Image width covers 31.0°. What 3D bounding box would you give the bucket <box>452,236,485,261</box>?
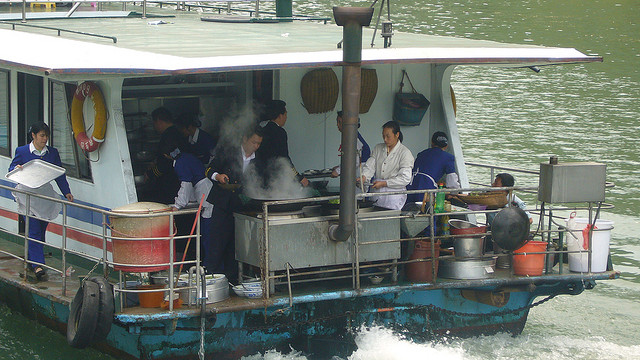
[{"bbox_3d":[2.754,1.331,21.917,0.502,0.278,0.401,-1,1,8],"label":"bucket"}]

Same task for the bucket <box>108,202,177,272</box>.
[{"bbox_3d":[-3.210,1.043,21.125,1.019,1.273,0.697,2,0,3],"label":"bucket"}]

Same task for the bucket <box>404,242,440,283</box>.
[{"bbox_3d":[1.933,1.569,22.017,0.555,0.773,0.486,3,1,17],"label":"bucket"}]

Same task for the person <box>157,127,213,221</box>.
[{"bbox_3d":[-2.557,-0.130,22.196,0.755,1.608,1.352,-5,15,-21],"label":"person"}]

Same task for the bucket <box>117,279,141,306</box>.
[{"bbox_3d":[-3.418,2.088,21.094,0.482,0.355,0.452,-1,6,0],"label":"bucket"}]

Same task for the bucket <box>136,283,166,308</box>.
[{"bbox_3d":[-3.041,2.118,20.892,0.486,0.293,0.443,2,0,0],"label":"bucket"}]

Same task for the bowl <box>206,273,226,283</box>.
[{"bbox_3d":[-1.901,1.827,21.093,0.327,0.106,0.240,-1,13,-4],"label":"bowl"}]
